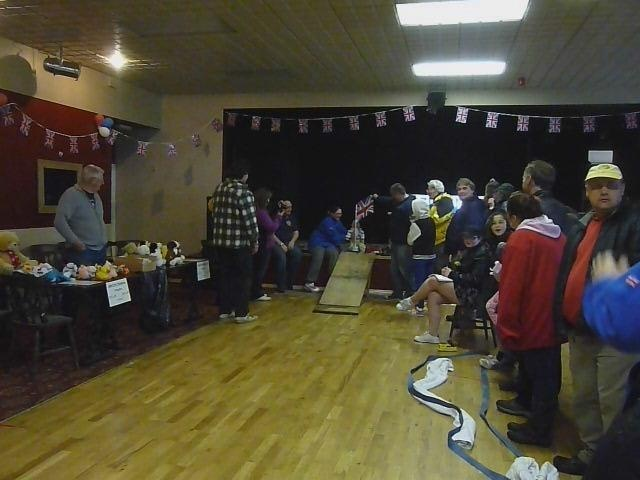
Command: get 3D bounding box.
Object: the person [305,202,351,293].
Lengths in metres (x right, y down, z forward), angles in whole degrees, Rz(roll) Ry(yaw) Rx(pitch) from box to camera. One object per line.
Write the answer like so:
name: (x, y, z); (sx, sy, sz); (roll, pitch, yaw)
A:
person: (0.095, 0.135, 7.799); (0.699, 1.400, 0.538); (1, 7, 2)

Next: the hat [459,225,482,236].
hat: (1.531, -0.093, 4.747); (0.118, 0.094, 0.135); (-2, 2, -34)

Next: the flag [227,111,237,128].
flag: (-1.669, -2.292, 8.694); (0.234, 0.220, 0.398); (3, 39, -4)

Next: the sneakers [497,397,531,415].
sneakers: (1.479, 1.285, 3.539); (0.232, 0.104, 0.088); (7, 6, 24)

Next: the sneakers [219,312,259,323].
sneakers: (-1.014, 0.968, 5.760); (0.452, 0.188, 0.169); (0, 1, -3)

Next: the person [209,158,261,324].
person: (-1.032, 0.045, 5.594); (0.584, 1.941, 0.412); (2, 7, 10)

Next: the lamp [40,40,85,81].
lamp: (-3.584, -2.506, 6.435); (0.432, 0.459, 0.214); (9, 8, -18)

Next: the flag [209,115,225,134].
flag: (-1.967, -2.185, 8.824); (0.088, 0.263, 0.265); (-23, 53, -22)

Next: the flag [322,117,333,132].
flag: (0.132, -2.108, 8.399); (0.187, 0.276, 0.476); (1, 7, -1)

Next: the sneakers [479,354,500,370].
sneakers: (1.638, 1.173, 4.440); (0.168, 0.069, 0.090); (-1, 7, -37)

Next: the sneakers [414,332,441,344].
sneakers: (1.190, 1.071, 5.136); (0.284, 0.122, 0.114); (1, 1, 13)

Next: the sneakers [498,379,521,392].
sneakers: (1.614, 1.244, 3.956); (0.131, 0.045, 0.096); (-3, -2, 18)

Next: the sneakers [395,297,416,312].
sneakers: (1.194, 0.899, 6.509); (0.160, 0.198, 0.447); (1, 1, -19)

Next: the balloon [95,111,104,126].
balloon: (-3.699, -2.021, 7.786); (0.152, 0.272, 0.155); (-3, 17, -18)

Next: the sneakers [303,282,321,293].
sneakers: (-0.143, 0.772, 7.744); (0.255, 0.139, 0.317); (1, 7, 0)

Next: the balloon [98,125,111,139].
balloon: (-3.658, -1.856, 7.851); (0.205, 0.199, 0.203); (-3, 8, -29)

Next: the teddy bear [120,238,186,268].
teddy bear: (-1.887, 0.116, 5.160); (0.496, 0.175, 0.368); (2, 3, 11)

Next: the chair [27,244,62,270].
chair: (-3.046, 0.187, 5.120); (0.240, 0.317, 0.222); (0, 19, -29)

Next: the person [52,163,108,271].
person: (-2.459, -0.254, 4.743); (0.453, 1.031, 0.479); (-2, 8, -28)

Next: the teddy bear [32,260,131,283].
teddy bear: (-2.206, 0.289, 4.327); (0.878, 0.169, 0.513); (-4, 9, -38)

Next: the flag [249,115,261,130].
flag: (-1.249, -2.187, 8.561); (0.075, 0.276, 0.290); (9, 9, 29)
